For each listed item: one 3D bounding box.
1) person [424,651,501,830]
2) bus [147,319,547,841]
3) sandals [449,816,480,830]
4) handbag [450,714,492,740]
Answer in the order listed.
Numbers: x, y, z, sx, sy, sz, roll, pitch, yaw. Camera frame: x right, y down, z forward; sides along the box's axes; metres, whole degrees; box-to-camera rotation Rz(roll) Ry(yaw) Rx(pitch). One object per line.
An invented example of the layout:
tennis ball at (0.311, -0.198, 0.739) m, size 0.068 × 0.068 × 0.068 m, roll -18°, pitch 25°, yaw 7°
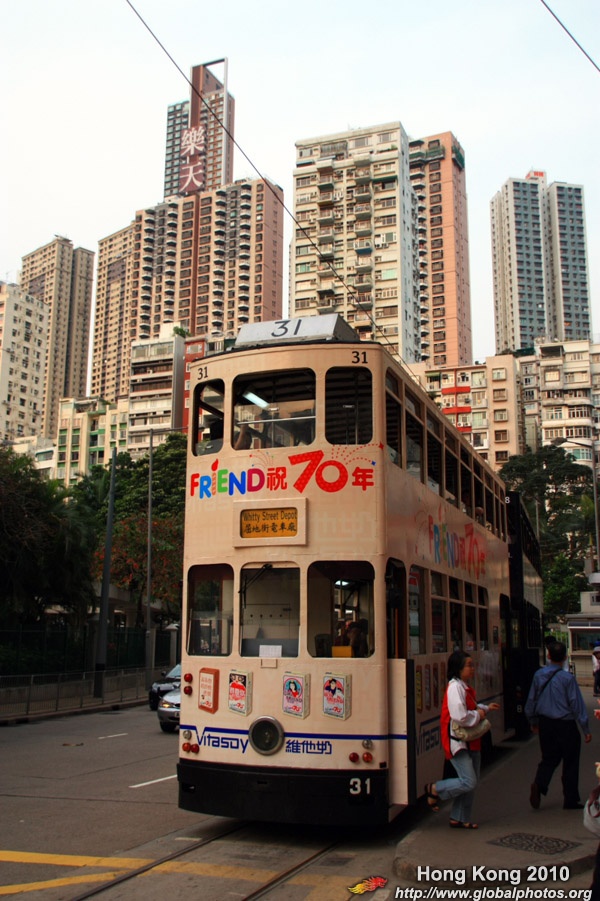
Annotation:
person at (1.302, 2.311, 6.603) m, size 0.517 × 1.358 × 0.800 m, roll -4°, pitch -14°, yaw 17°
bus at (3.041, 2.119, 12.375) m, size 2.667 × 4.670 × 13.496 m, roll -7°, pitch -14°, yaw 28°
sandals at (1.262, 2.854, 6.311) m, size 0.206 × 0.080 × 0.075 m, roll -2°, pitch -10°, yaw 9°
handbag at (1.326, 2.161, 6.348) m, size 0.326 × 0.173 × 0.129 m, roll 4°, pitch -13°, yaw -14°
